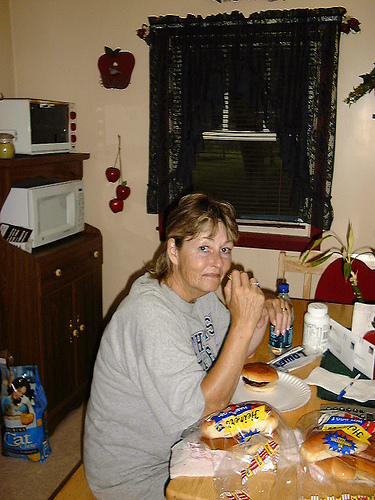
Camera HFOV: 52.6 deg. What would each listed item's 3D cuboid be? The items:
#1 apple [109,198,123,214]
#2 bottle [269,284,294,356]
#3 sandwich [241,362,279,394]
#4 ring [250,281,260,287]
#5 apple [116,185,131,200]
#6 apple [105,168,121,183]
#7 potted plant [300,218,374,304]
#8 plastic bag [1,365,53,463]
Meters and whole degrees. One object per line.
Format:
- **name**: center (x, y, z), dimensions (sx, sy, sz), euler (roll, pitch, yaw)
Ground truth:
- **apple**: center (-0.517, -0.325, 2.760), dimensions (0.086, 0.094, 0.088), euler (-1, 5, -1)
- **bottle**: center (0.335, 0.253, 1.373), dimensions (0.099, 0.272, 0.101), euler (5, 4, 0)
- **sandwich**: center (0.215, 0.368, 1.095), dimensions (0.096, 0.051, 0.093), euler (15, -5, -40)
- **ring**: center (0.193, 0.099, 1.081), dimensions (0.017, 0.018, 0.010), euler (10, 35, -5)
- **apple**: center (-0.466, -0.414, 2.780), dimensions (0.091, 0.097, 0.093), euler (16, 1, -5)
- **apple**: center (-0.543, -0.543, 2.776), dimensions (0.089, 0.093, 0.091), euler (10, -2, -4)
- **potted plant**: center (0.873, 0.054, 2.169), dimensions (0.334, 0.419, 0.408), euler (-20, 10, 0)
- **plastic bag**: center (-0.865, 0.875, 2.139), dimensions (0.260, 0.527, 0.187), euler (1, 12, 4)
